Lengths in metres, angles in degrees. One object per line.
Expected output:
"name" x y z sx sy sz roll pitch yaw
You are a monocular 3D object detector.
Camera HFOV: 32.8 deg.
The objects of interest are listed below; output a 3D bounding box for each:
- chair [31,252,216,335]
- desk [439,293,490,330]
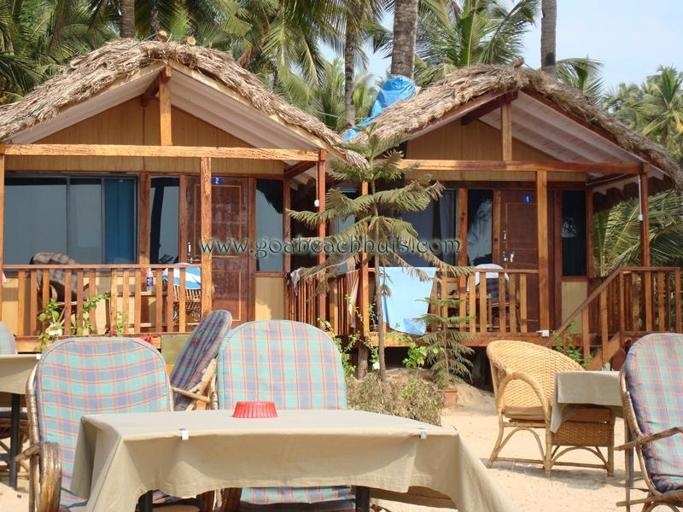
"chair" -3.532 0.608 18.371 2.162 0.934 1.739 1 0 -19
"desk" 1.991 0.897 19.069 0.604 0.431 0.681 11 0 -8
